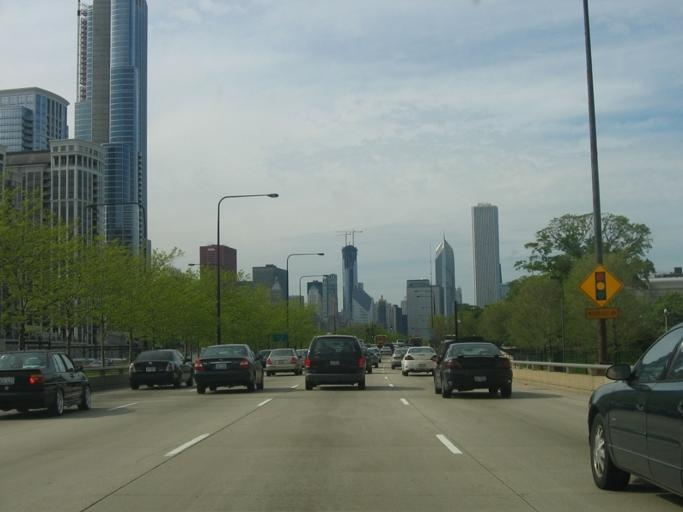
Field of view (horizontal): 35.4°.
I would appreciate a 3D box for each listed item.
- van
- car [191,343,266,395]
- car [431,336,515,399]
[{"bbox_3d":[-0.212,3.668,36.754,2.441,2.548,5.389,0,-2,1],"label":"van"},{"bbox_3d":[-3.759,3.722,36.007,2.254,1.658,2.085,-1,-7,-7],"label":"car"},{"bbox_3d":[3.882,3.388,32.559,1.815,2.011,4.055,1,-5,-2],"label":"car"}]
